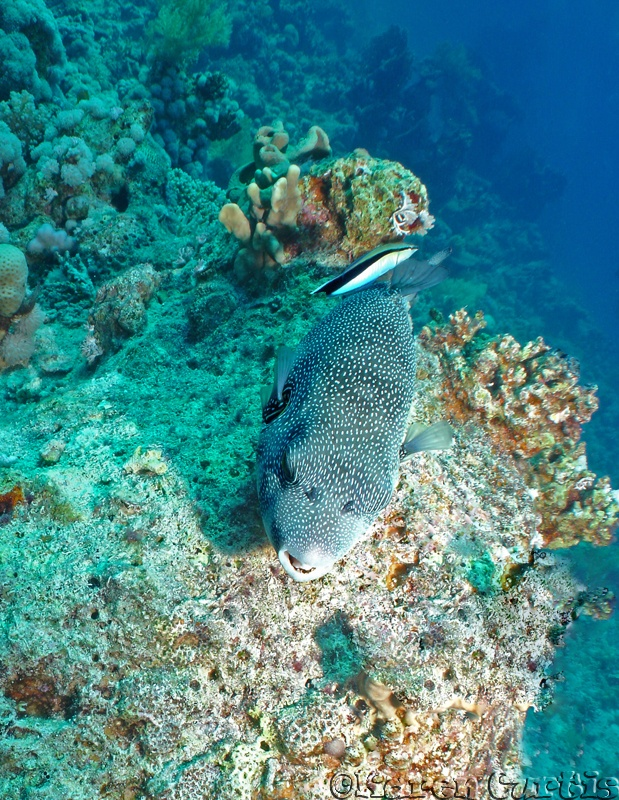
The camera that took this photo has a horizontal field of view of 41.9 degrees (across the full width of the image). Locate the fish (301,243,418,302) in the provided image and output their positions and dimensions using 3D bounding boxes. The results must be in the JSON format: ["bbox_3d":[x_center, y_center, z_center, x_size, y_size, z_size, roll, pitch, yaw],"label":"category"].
[{"bbox_3d":[0.383,-0.948,6.121,0.897,0.360,0.188,-29,60,-5],"label":"fish"}]
